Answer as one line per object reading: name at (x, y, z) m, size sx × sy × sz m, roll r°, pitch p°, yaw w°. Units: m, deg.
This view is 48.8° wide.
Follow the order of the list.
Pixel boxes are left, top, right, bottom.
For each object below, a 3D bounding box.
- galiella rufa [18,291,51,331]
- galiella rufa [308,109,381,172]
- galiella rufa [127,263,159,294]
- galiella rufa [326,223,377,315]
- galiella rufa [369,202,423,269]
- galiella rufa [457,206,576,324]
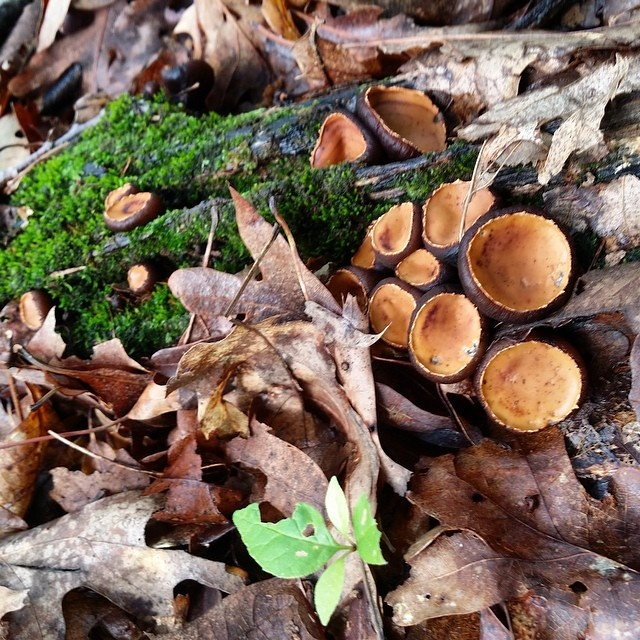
galiella rufa at (-1.868, -0.069, 4.584) m, size 0.273 × 0.163 × 0.233 m, roll -9°, pitch 78°, yaw 20°
galiella rufa at (0.142, -1.147, 4.570) m, size 0.530 × 0.457 × 0.337 m, roll -7°, pitch 101°, yaw 15°
galiella rufa at (-1.119, -0.260, 4.514) m, size 0.208 × 0.113 × 0.177 m, roll -17°, pitch 82°, yaw 16°
galiella rufa at (0.221, -0.312, 4.337) m, size 0.388 × 0.289 × 0.476 m, roll 11°, pitch 106°, yaw 13°
galiella rufa at (0.455, -0.501, 4.131) m, size 0.364 × 0.166 × 0.346 m, roll -25°, pitch 53°, yaw 36°
galiella rufa at (1.043, -0.295, 3.751) m, size 0.580 × 0.183 × 0.610 m, roll 2°, pitch 71°, yaw 14°
